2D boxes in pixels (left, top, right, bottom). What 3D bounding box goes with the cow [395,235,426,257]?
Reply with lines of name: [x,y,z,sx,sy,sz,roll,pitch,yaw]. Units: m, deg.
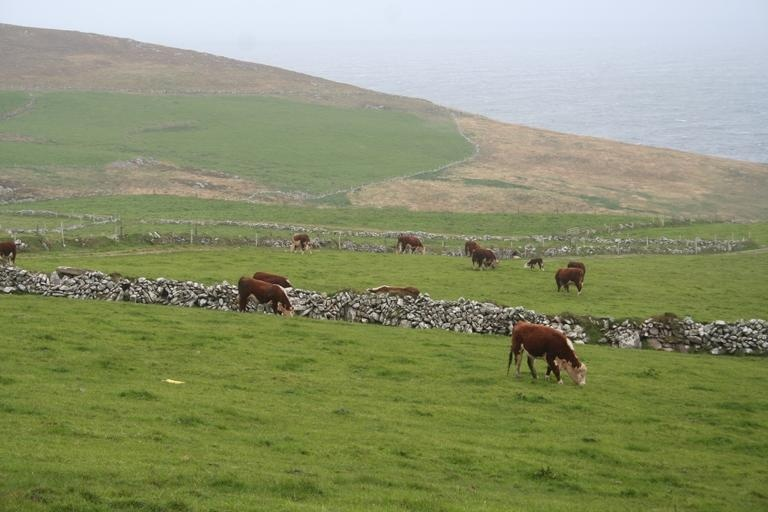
cow: [2.508,-1.106,82.076,2.576,1.507,1.599,0,8,-2]
